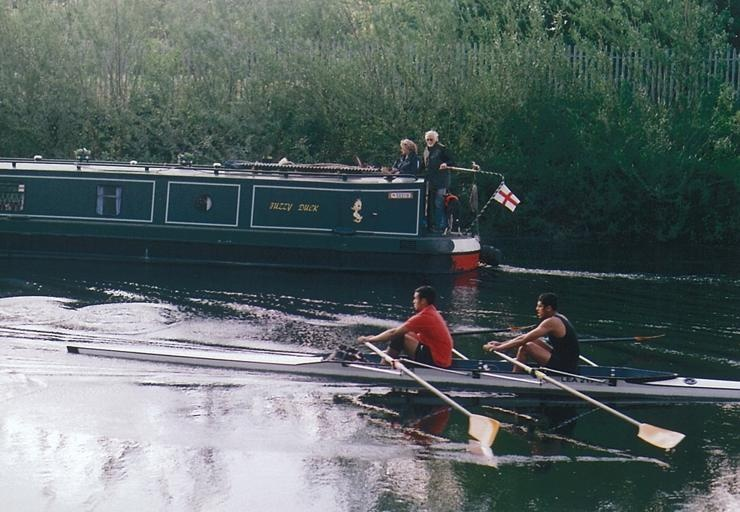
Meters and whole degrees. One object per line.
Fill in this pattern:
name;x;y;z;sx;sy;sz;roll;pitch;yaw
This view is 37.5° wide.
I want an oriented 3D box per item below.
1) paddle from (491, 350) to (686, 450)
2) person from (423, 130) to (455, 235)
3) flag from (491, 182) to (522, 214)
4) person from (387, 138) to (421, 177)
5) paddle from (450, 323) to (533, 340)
paddle;4.216;2.881;21.323;3.277;0.251;0.509;24;42;15
person;1.753;-1.942;28.627;0.739;2.711;0.571;7;18;11
flag;3.624;-1.605;29.061;0.602;0.964;1.499;5;17;4
person;0.957;-2.599;29.032;1.149;1.214;0.780;-1;5;-9
paddle;2.624;1.642;23.656;2.431;0.132;0.247;-3;58;18
